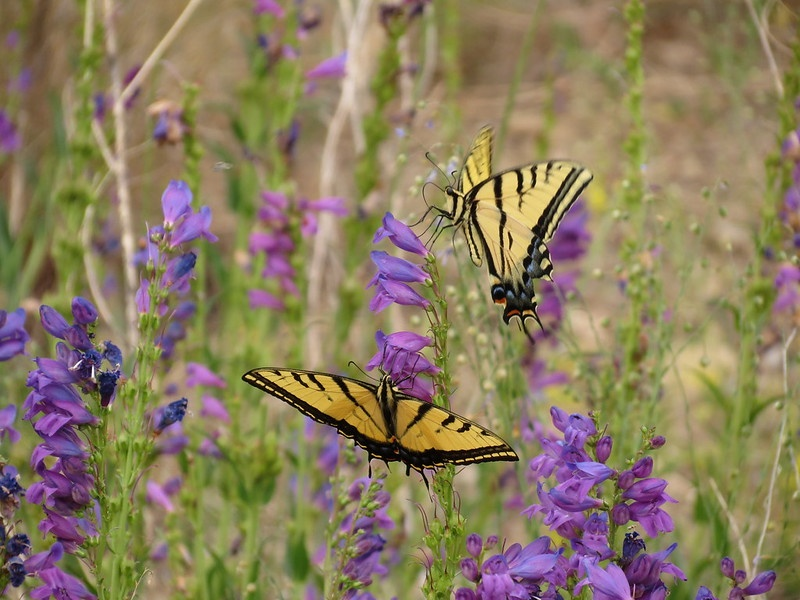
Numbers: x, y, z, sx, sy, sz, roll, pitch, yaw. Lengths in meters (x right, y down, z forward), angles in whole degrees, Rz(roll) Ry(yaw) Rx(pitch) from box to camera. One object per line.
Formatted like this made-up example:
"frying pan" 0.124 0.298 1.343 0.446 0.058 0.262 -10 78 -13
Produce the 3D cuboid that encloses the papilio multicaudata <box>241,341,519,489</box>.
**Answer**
"papilio multicaudata" -0.034 0.230 3.160 0.541 0.189 0.148 3 8 8

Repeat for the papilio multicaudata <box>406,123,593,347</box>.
"papilio multicaudata" 0.203 -0.167 3.439 0.209 0.326 0.458 -31 27 -2
